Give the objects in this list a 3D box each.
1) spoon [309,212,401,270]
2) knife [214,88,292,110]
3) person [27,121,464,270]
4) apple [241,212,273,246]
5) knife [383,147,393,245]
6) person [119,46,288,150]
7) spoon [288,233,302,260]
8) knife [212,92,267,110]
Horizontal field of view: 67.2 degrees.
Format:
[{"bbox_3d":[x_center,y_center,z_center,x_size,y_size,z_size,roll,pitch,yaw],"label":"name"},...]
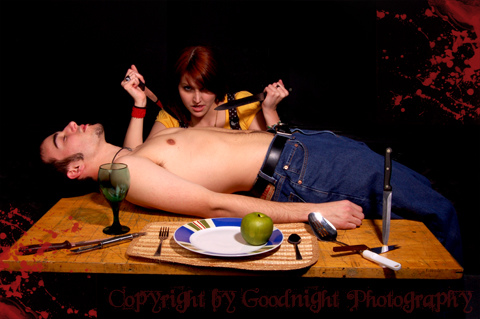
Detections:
[{"bbox_3d":[0.466,0.362,1.740,0.136,0.106,0.564,-19,28,-41],"label":"spoon"},{"bbox_3d":[0.107,-0.466,2.819,0.485,0.070,0.089,-20,8,-15],"label":"knife"},{"bbox_3d":[-0.044,0.086,2.104,1.918,0.637,1.100,3,11,-3],"label":"person"},{"bbox_3d":[0.062,0.295,1.598,0.130,0.158,0.135,1,5,-11],"label":"apple"},{"bbox_3d":[0.662,0.167,1.635,0.049,0.457,0.022,4,7,30],"label":"knife"},{"bbox_3d":[-0.228,-0.489,2.731,0.847,0.549,0.316,10,39,-13],"label":"person"},{"bbox_3d":[0.247,0.402,1.644,0.038,0.018,0.124,-1,25,2],"label":"spoon"},{"bbox_3d":[-0.011,-0.444,2.784,0.436,0.060,0.081,-14,6,-12],"label":"knife"}]
